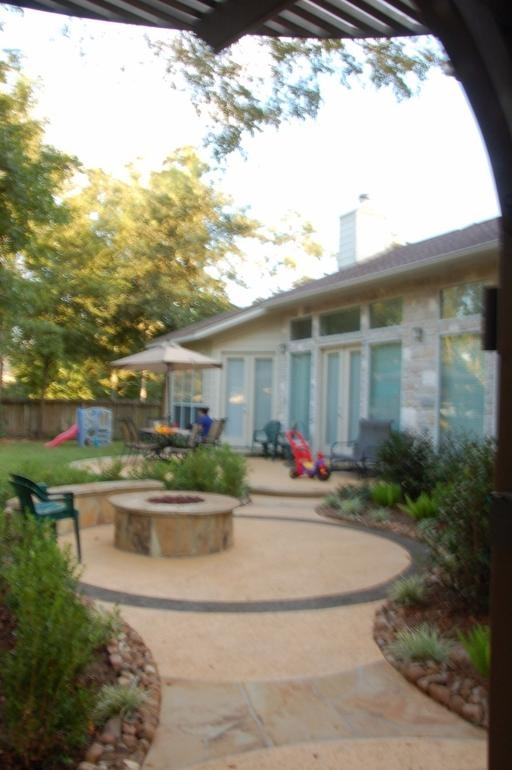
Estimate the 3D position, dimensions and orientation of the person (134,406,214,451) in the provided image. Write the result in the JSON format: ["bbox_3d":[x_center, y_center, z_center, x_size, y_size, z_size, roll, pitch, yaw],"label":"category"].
[{"bbox_3d":[-1.710,1.086,11.448,1.613,0.638,1.226,-2,2,41],"label":"person"}]

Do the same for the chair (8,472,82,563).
[{"bbox_3d":[-1.725,0.940,4.246,0.415,0.680,0.839,2,-1,0],"label":"chair"}]

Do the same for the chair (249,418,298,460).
[{"bbox_3d":[0.377,1.414,13.897,0.892,1.320,0.934,-2,-5,24],"label":"chair"}]

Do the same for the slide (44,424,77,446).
[{"bbox_3d":[-6.209,1.552,16.819,0.849,0.720,3.258,2,-1,-18],"label":"slide"}]

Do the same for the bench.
[{"bbox_3d":[1.991,1.198,10.104,1.164,1.138,1.000,-6,6,-41],"label":"bench"}]
